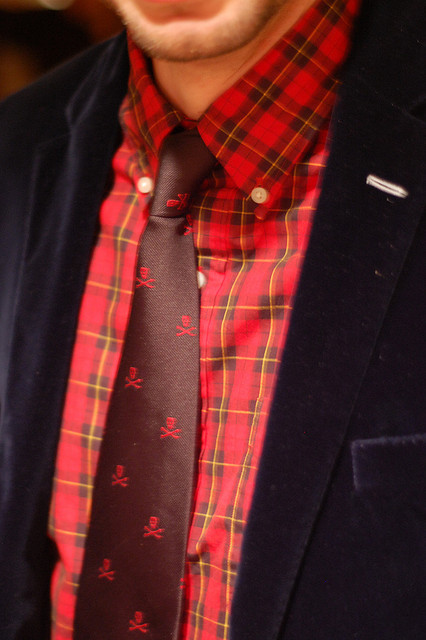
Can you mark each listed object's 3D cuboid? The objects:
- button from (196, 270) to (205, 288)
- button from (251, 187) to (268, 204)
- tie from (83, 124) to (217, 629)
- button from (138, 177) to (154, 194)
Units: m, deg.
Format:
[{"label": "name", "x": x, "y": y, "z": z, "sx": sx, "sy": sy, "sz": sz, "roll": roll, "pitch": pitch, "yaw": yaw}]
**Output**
[{"label": "button", "x": -0.019, "y": -0.058, "z": 0.820, "sx": 0.004, "sy": 0.019, "sz": 0.020, "roll": -1, "pitch": -3, "yaw": -36}, {"label": "button", "x": 0.060, "y": -0.164, "z": 0.764, "sx": 0.021, "sy": 0.020, "sz": 0.008, "roll": 12, "pitch": 20, "yaw": 0}, {"label": "tie", "x": -0.072, "y": 0.052, "z": 0.786, "sx": 0.139, "sy": 0.634, "sz": 0.053, "roll": 13, "pitch": -14, "yaw": -7}, {"label": "button", "x": -0.102, "y": -0.201, "z": 0.867, "sx": 0.024, "sy": 0.023, "sz": 0.006, "roll": 10, "pitch": 9, "yaw": 27}]
